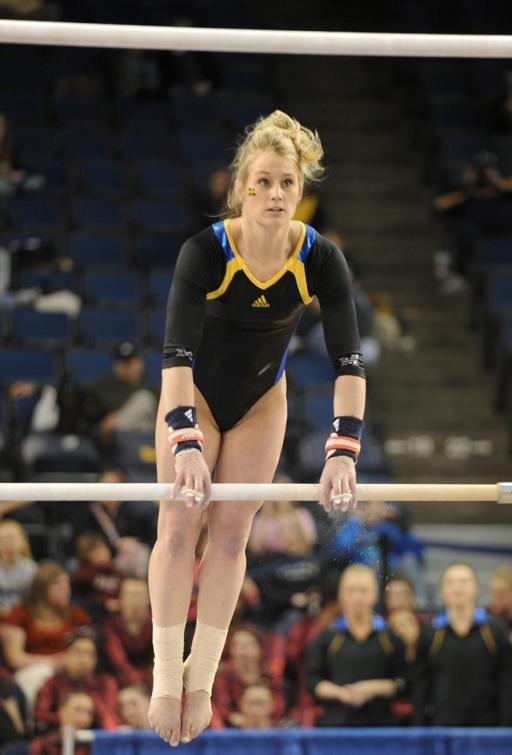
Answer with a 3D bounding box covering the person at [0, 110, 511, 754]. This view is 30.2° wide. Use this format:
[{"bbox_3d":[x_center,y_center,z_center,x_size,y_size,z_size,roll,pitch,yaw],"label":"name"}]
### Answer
[{"bbox_3d":[-0.088,0.133,2.973,0.810,2.031,0.667,1,3,-39],"label":"person"}]
